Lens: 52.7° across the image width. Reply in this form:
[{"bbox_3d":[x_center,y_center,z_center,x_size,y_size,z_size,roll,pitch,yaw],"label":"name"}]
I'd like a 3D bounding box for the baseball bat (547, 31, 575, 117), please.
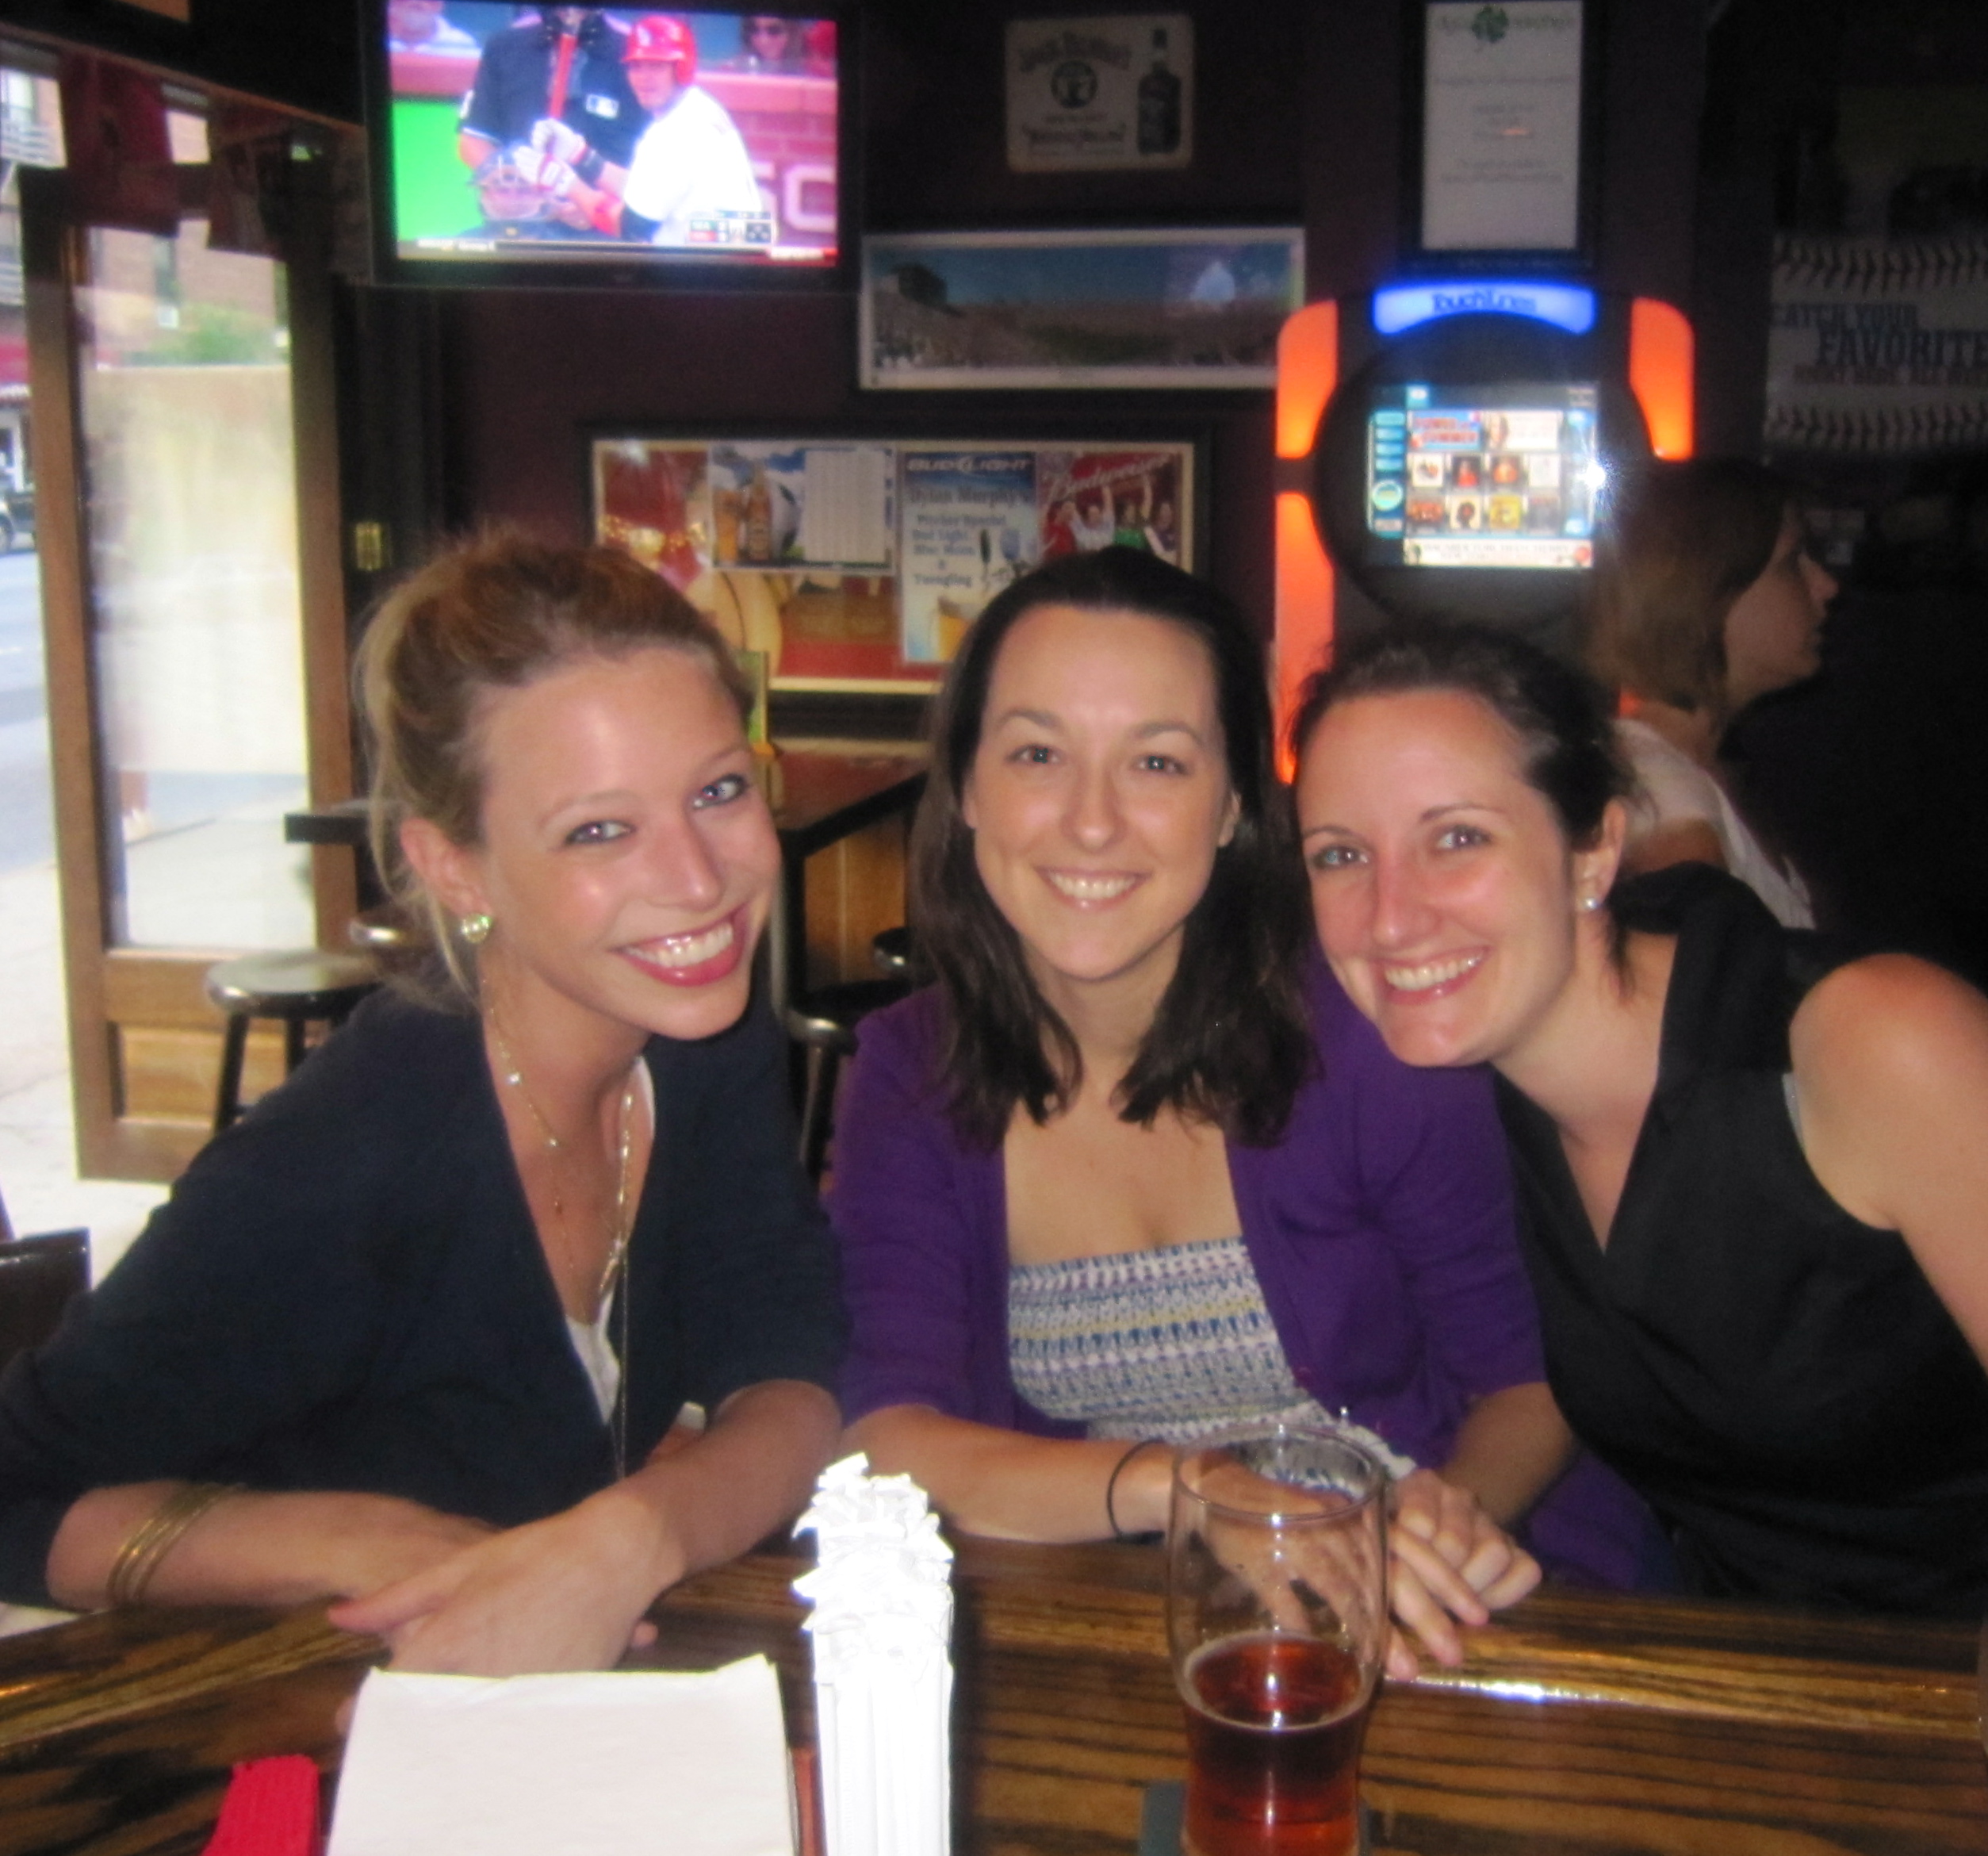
[{"bbox_3d":[-0.951,-1.914,4.415,0.072,0.179,0.052,-6,11,-21],"label":"baseball bat"}]

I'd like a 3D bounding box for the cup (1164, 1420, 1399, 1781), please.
[{"bbox_3d":[0.179,0.417,1.267,0.135,0.152,0.175,1,11,13],"label":"cup"}]

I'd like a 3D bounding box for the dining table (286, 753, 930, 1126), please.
[{"bbox_3d":[-0.604,-0.136,4.857,1.082,1.132,1.137,2,11,11],"label":"dining table"}]
